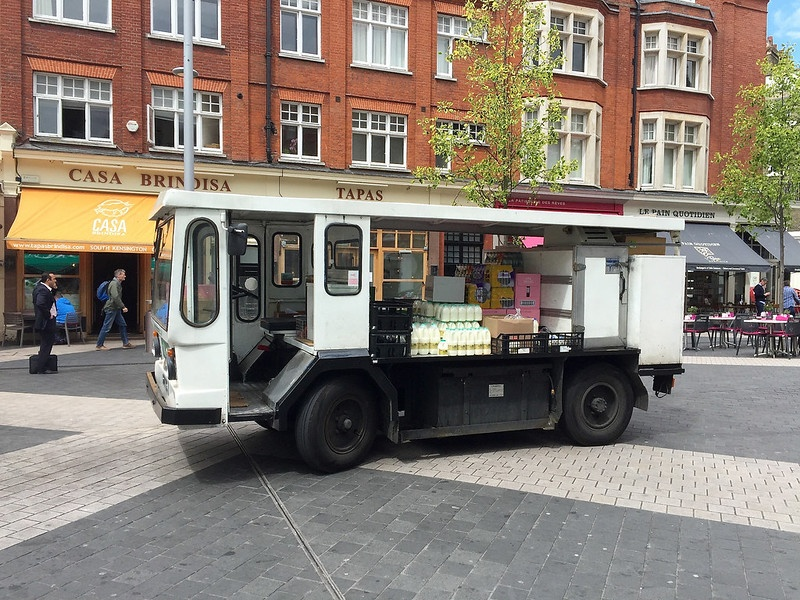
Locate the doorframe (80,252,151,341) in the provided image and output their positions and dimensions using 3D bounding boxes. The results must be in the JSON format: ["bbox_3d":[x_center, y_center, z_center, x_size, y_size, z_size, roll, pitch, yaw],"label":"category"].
[{"bbox_3d":[-8.448,-0.300,23.562,2.176,3.550,1.782,1,-1,5],"label":"doorframe"}]

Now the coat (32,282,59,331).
[{"bbox_3d":[-7.575,0.281,16.516,0.448,1.356,0.650,-7,9,-36],"label":"coat"}]

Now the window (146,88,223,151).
[{"bbox_3d":[-6.002,-5.001,21.194,2.448,2.396,0.374,1,-2,-17],"label":"window"}]

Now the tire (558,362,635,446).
[{"bbox_3d":[2.828,1.469,11.258,1.042,1.166,0.417,-3,9,-21],"label":"tire"}]

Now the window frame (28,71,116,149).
[{"bbox_3d":[-8.906,-5.175,20.806,2.039,1.949,0.285,1,2,-25],"label":"window frame"}]

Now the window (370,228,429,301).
[{"bbox_3d":[-0.034,-0.638,14.187,0.791,1.521,1.537,0,1,30],"label":"window"}]

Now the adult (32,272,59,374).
[{"bbox_3d":[-7.514,0.468,16.337,0.444,1.925,1.047,-4,11,-24],"label":"adult"}]

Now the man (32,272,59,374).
[{"bbox_3d":[-7.514,0.468,16.337,0.444,1.925,1.047,-4,11,-24],"label":"man"}]

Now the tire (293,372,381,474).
[{"bbox_3d":[-0.844,1.572,10.111,1.053,1.237,0.367,-11,13,-37],"label":"tire"}]

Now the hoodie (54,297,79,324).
[{"bbox_3d":[-8.551,0.272,19.760,0.528,0.665,0.604,-9,-2,-39],"label":"hoodie"}]

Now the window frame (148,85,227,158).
[{"bbox_3d":[-6.041,-5.157,21.999,1.910,1.769,0.187,1,20,-18],"label":"window frame"}]

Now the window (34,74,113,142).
[{"bbox_3d":[-8.897,-5.251,20.847,1.718,1.636,0.314,1,2,-25],"label":"window"}]
